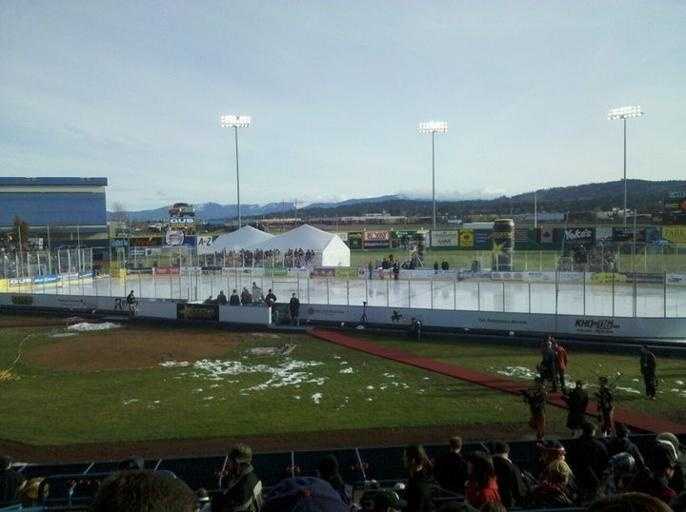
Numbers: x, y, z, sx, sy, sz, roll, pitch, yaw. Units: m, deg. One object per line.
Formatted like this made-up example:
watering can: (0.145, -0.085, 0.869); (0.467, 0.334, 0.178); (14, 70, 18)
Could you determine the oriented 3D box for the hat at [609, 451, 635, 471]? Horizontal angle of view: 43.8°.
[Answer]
hat: (8.776, 6.390, 26.883); (0.614, 0.531, 0.529); (1, -3, 4)
